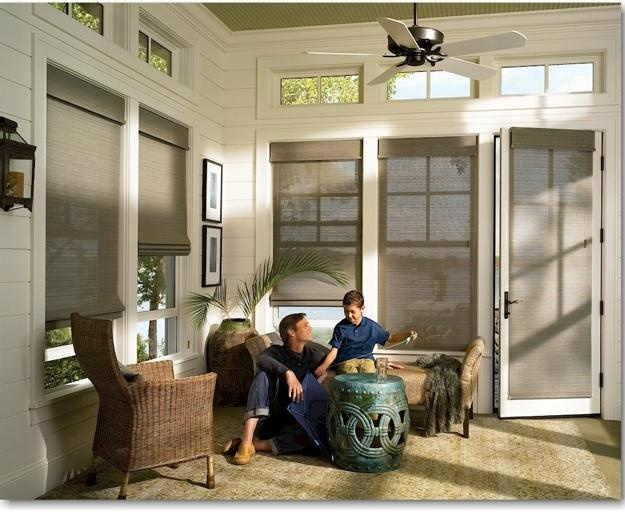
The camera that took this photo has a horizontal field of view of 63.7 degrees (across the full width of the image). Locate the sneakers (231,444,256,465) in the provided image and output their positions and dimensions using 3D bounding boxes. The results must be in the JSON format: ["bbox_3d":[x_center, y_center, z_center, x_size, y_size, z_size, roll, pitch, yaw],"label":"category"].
[{"bbox_3d":[-0.494,1.427,3.621,0.084,0.076,0.204,-1,-10,7],"label":"sneakers"}]

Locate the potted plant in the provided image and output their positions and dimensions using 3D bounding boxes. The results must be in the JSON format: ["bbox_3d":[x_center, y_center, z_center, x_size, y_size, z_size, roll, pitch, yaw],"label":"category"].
[{"bbox_3d":[-0.847,0.773,5.832,1.928,1.782,1.483,5,-12,-15],"label":"potted plant"}]

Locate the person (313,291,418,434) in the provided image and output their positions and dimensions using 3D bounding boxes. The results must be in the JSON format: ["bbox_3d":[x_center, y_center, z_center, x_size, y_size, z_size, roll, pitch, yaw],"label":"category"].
[{"bbox_3d":[0.417,0.810,4.357,0.888,0.829,0.706,-2,3,34],"label":"person"}]
